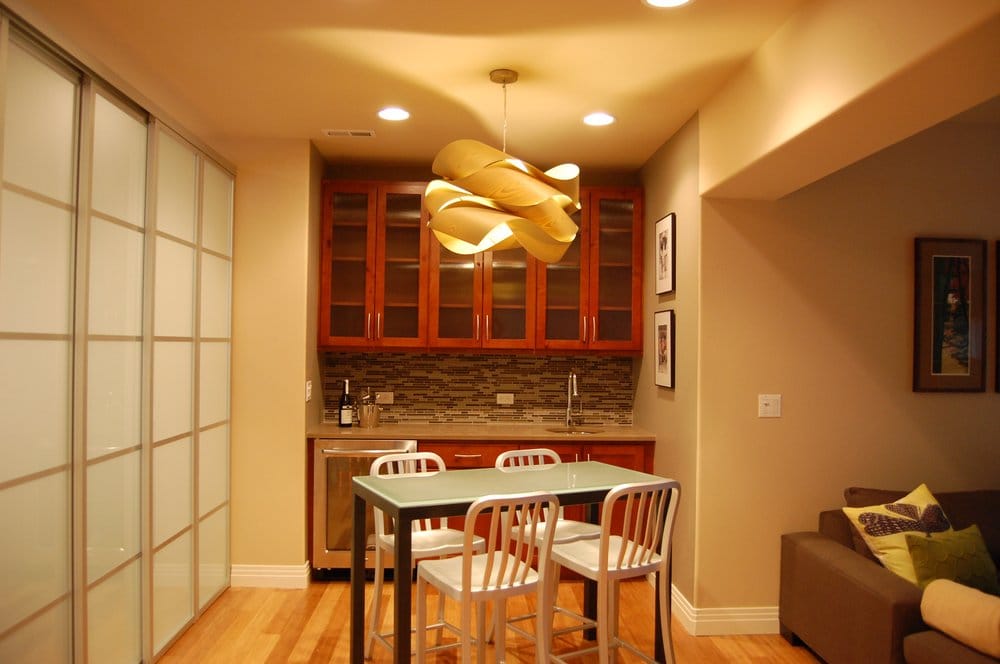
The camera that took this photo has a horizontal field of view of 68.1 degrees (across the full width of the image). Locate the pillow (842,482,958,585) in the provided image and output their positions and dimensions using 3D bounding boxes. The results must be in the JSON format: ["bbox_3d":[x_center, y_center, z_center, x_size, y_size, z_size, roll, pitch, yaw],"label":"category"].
[{"bbox_3d":[2.218,1.131,4.067,0.442,0.416,0.132,-26,-35,27],"label":"pillow"}]

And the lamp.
[{"bbox_3d":[0.014,-0.747,3.971,0.727,0.875,0.723,0,6,-6],"label":"lamp"}]

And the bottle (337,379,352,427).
[{"bbox_3d":[-1.209,0.553,5.771,0.124,0.362,0.412,1,-2,-12],"label":"bottle"}]

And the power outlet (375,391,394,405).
[{"bbox_3d":[-0.940,0.544,5.998,0.142,0.095,0.036,1,-2,-22],"label":"power outlet"}]

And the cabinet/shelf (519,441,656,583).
[{"bbox_3d":[0.523,1.149,5.573,0.996,0.611,0.526,3,-5,-20],"label":"cabinet/shelf"}]

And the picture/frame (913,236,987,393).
[{"bbox_3d":[2.134,-0.080,3.491,0.050,1.248,0.939,-2,-2,44],"label":"picture/frame"}]

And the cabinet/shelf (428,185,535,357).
[{"bbox_3d":[-0.167,-0.140,5.905,0.841,0.484,1.342,6,39,-7],"label":"cabinet/shelf"}]

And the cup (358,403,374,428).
[{"bbox_3d":[-1.022,0.651,5.693,0.135,0.177,0.170,1,-8,-5],"label":"cup"}]

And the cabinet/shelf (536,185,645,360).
[{"bbox_3d":[0.703,-0.479,5.896,0.875,1.358,0.405,-1,11,3],"label":"cabinet/shelf"}]

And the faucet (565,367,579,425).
[{"bbox_3d":[0.592,0.538,5.930,0.120,0.437,0.283,0,-2,7],"label":"faucet"}]
